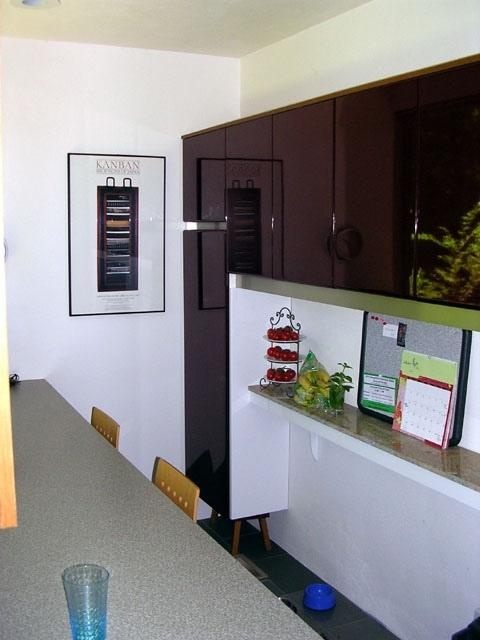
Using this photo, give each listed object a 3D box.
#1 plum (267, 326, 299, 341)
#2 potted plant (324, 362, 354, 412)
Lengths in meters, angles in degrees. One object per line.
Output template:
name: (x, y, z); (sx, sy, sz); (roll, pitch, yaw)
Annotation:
plum: (0.251, 0.080, 2.803); (0.185, 0.080, 0.099); (0, 7, 9)
potted plant: (0.502, 0.352, 2.460); (0.118, 0.255, 0.131); (8, -3, 36)
